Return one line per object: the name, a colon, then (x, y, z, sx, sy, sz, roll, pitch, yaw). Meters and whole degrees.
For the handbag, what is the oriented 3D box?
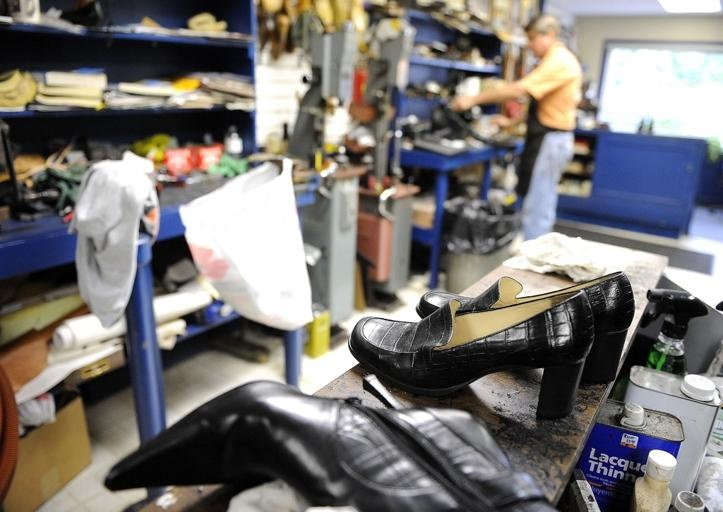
handbag: (-0.494, -0.058, 2.188, 0.606, 0.655, 0.213, -28, 12, -14)
